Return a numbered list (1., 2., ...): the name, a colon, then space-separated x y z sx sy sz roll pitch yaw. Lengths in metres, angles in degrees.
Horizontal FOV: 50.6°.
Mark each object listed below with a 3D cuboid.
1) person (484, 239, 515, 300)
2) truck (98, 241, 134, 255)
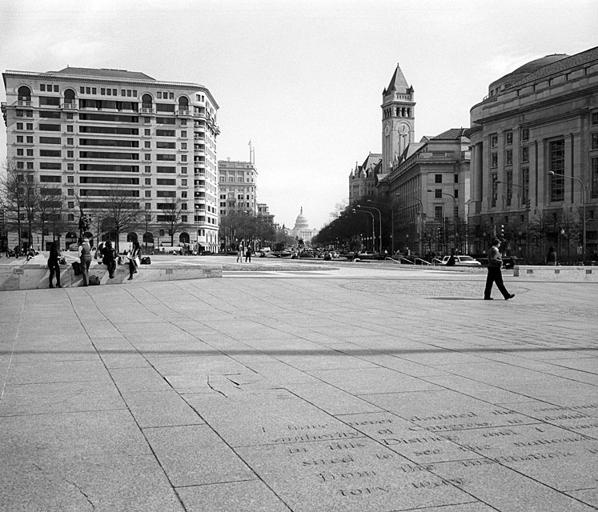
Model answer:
1. person: 6.056 0.469 19.485 0.970 2.317 0.758 0 0 33
2. truck: -16.018 -0.654 55.863 2.422 1.447 1.576 4 -2 -18
